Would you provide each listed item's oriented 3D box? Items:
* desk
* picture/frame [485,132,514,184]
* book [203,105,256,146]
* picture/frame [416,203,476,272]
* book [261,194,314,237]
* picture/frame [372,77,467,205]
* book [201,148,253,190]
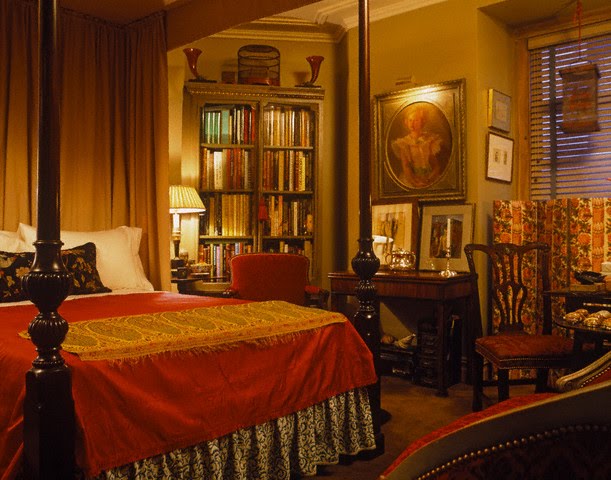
[{"bbox_3d":[0.655,0.629,4.272,0.924,0.726,0.390,2,-1,24],"label":"desk"},{"bbox_3d":[1.618,-0.678,4.607,0.406,0.422,0.029,5,-3,-39],"label":"picture/frame"},{"bbox_3d":[-0.713,-1.063,5.103,0.362,0.355,0.146,1,-2,-18],"label":"book"},{"bbox_3d":[1.145,-0.014,4.420,0.531,0.678,0.030,0,-3,41],"label":"picture/frame"},{"bbox_3d":[-0.179,-0.225,5.201,0.369,0.345,0.143,2,-3,-27],"label":"book"},{"bbox_3d":[1.004,-0.857,4.694,1.100,1.311,0.128,-1,-3,38],"label":"picture/frame"},{"bbox_3d":[-0.724,-0.665,5.116,0.488,0.386,0.093,-3,2,-11],"label":"book"}]
